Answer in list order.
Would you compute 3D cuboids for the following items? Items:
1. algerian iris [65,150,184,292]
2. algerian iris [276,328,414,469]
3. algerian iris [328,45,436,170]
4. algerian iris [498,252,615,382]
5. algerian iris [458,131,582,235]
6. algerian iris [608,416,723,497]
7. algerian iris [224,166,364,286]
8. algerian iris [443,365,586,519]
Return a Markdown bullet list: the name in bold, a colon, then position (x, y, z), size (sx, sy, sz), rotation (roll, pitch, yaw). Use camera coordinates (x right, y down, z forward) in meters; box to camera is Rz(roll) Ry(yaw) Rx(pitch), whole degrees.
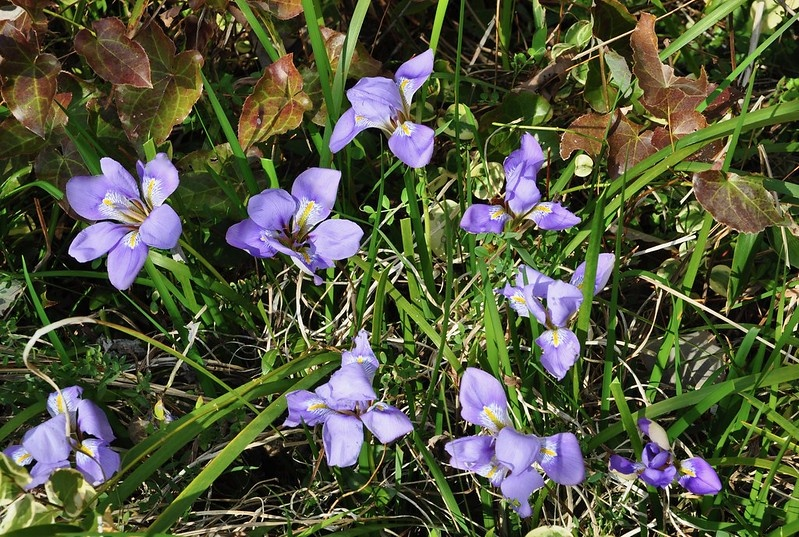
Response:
- **algerian iris**: position (-0.890, -0.151, 2.264), size (0.391, 0.168, 0.469), rotation (-18, 75, 19)
- **algerian iris**: position (-0.185, 0.426, 2.227), size (0.334, 0.437, 0.219), rotation (6, 81, 7)
- **algerian iris**: position (-0.008, -0.515, 2.324), size (0.371, 0.196, 0.391), rotation (33, 81, 26)
- **algerian iris**: position (0.557, 0.169, 2.256), size (0.437, 0.384, 0.146), rotation (33, 103, 10)
- **algerian iris**: position (0.399, -0.256, 2.347), size (0.402, 0.265, 0.311), rotation (-3, 65, -2)
- **algerian iris**: position (0.893, 0.634, 2.283), size (0.336, 0.146, 0.242), rotation (25, 100, 17)
- **algerian iris**: position (-0.347, -0.103, 2.227), size (0.422, 0.189, 0.315), rotation (-23, 67, -10)
- **algerian iris**: position (0.344, 0.565, 2.094), size (0.455, 0.213, 0.361), rotation (24, 58, 37)
